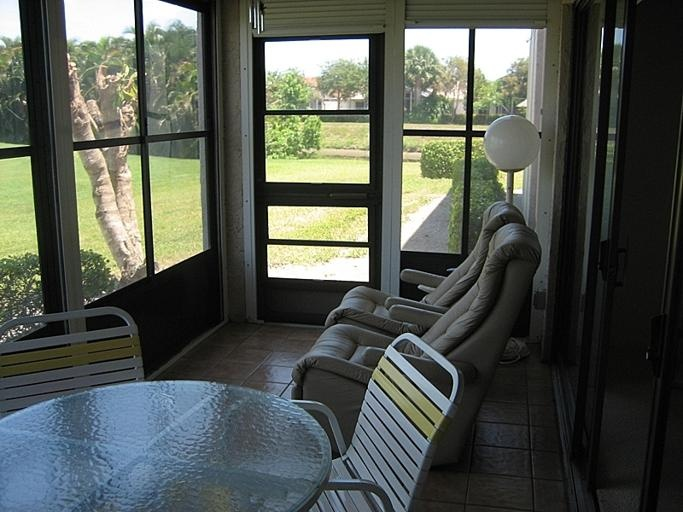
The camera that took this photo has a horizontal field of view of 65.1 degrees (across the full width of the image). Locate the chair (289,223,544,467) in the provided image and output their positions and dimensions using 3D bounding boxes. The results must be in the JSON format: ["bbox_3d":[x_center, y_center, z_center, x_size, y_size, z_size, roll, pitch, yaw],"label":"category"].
[{"bbox_3d":[0.454,0.530,3.436,1.468,1.415,1.052,0,8,14],"label":"chair"}]
